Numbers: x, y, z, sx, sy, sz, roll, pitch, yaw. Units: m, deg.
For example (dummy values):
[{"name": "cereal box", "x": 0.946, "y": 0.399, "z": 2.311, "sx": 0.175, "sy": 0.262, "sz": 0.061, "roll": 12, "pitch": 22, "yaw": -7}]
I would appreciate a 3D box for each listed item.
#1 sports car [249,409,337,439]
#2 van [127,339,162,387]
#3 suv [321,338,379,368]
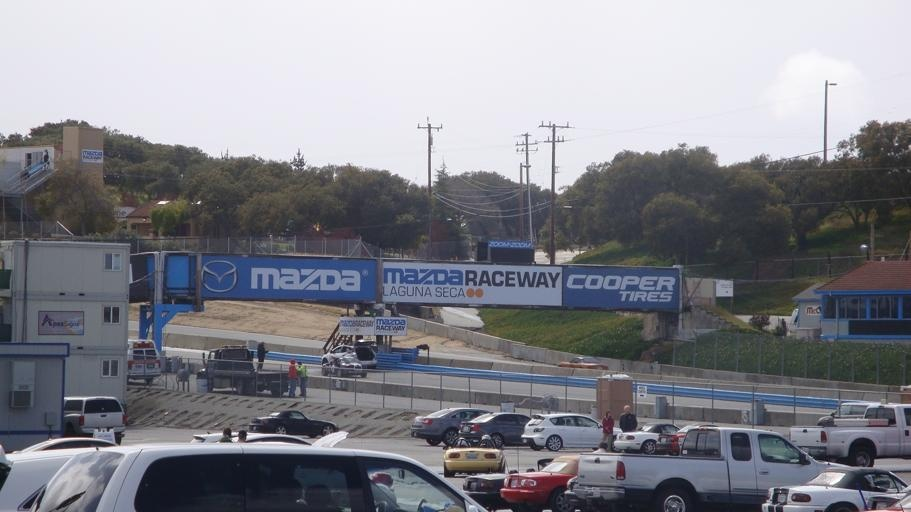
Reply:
[{"name": "sports car", "x": -14.259, "y": 14.934, "z": 176.927, "sx": 6.591, "sy": 1.789, "sz": 2.943, "roll": -2, "pitch": 1, "yaw": -12}, {"name": "van", "x": -29.469, "y": 9.961, "z": 190.360, "sx": 3.395, "sy": 3.337, "sz": 6.371, "roll": -3, "pitch": 2, "yaw": -11}, {"name": "suv", "x": -10.265, "y": 9.460, "z": 194.590, "sx": 4.852, "sy": 2.038, "sz": 2.631, "roll": 2, "pitch": 1, "yaw": 37}]
